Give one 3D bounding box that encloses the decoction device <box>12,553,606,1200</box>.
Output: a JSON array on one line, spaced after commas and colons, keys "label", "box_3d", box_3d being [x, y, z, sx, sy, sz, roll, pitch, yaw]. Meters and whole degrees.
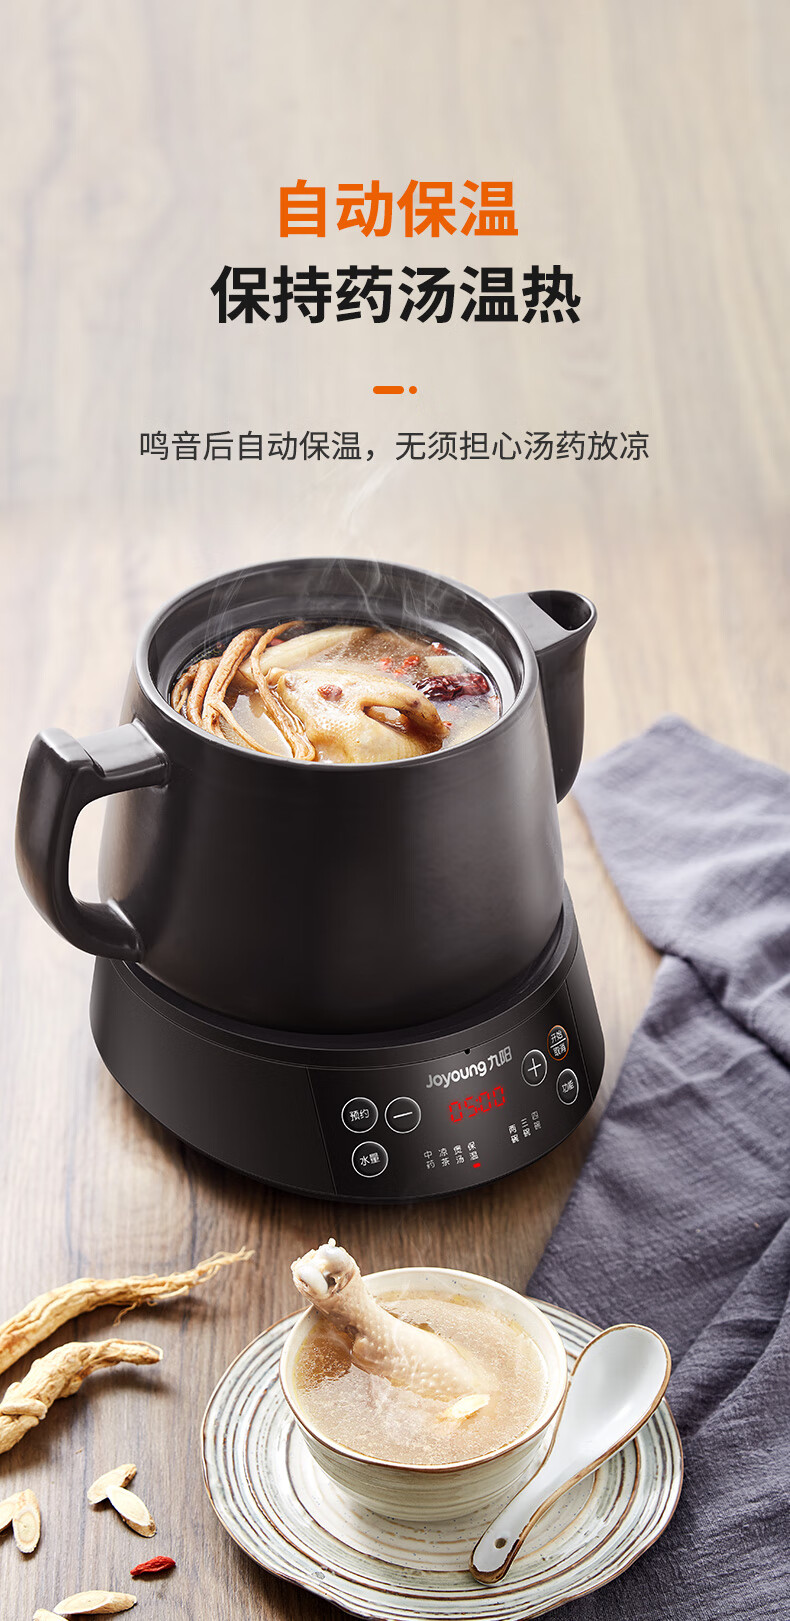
[{"label": "decoction device", "box_3d": [-0.055, 0.055, 0.735, 0.310, 0.327, 0.325, -11, 36, -14]}]
